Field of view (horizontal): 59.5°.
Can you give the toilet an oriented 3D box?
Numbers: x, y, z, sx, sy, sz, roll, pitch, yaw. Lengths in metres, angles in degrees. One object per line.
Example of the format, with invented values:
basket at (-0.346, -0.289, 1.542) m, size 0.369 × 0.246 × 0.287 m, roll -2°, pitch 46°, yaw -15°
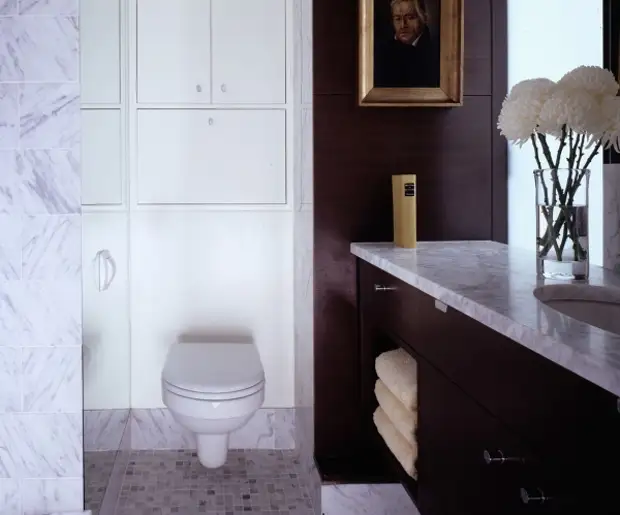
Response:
toilet at (-0.444, 0.667, 2.414) m, size 0.434 × 0.490 × 0.641 m, roll 1°, pitch 11°, yaw -16°
